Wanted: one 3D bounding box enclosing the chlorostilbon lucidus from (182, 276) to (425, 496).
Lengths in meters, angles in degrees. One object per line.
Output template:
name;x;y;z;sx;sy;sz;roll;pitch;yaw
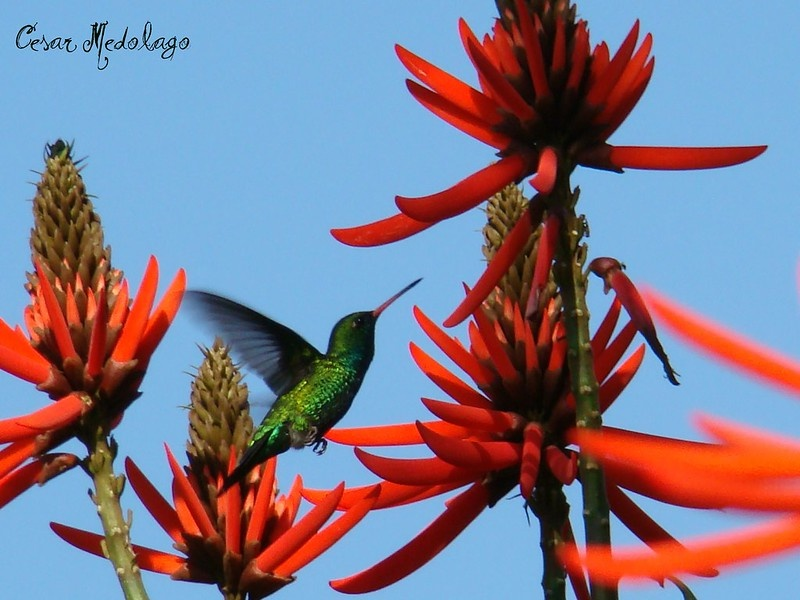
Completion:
chlorostilbon lucidus;-0.436;0.386;7.203;1.006;0.651;1.246;-12;-13;-21
